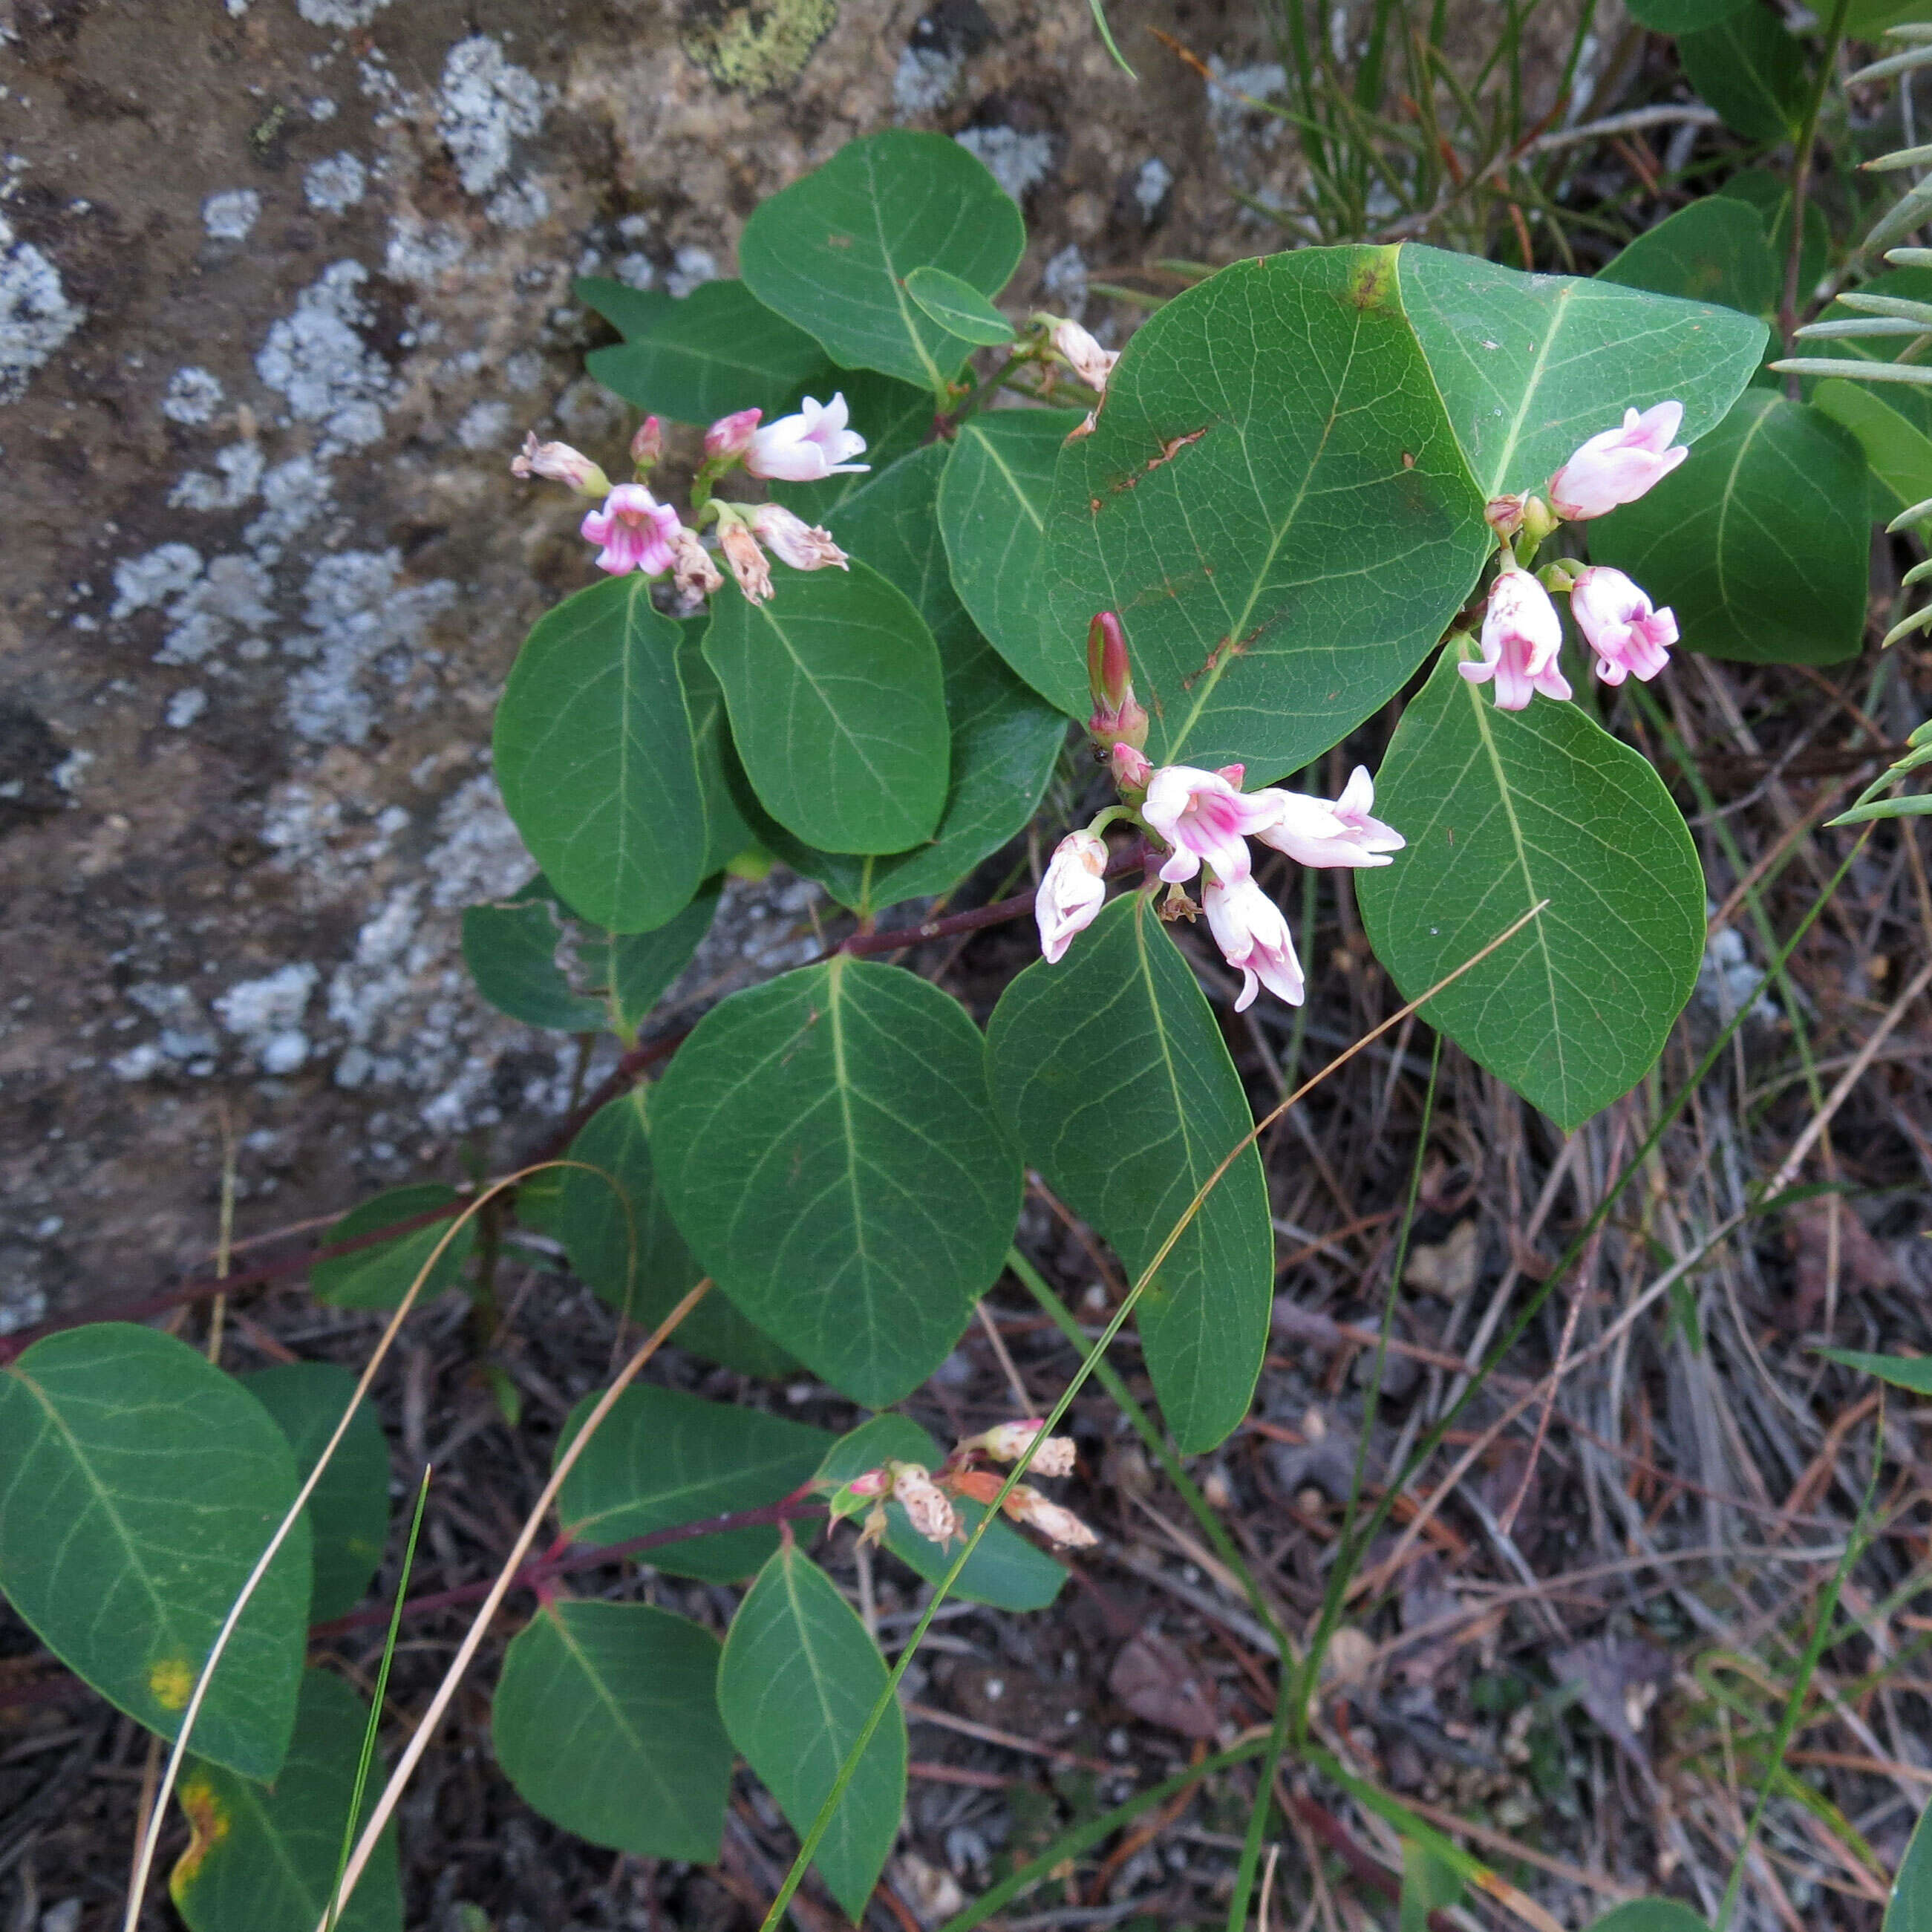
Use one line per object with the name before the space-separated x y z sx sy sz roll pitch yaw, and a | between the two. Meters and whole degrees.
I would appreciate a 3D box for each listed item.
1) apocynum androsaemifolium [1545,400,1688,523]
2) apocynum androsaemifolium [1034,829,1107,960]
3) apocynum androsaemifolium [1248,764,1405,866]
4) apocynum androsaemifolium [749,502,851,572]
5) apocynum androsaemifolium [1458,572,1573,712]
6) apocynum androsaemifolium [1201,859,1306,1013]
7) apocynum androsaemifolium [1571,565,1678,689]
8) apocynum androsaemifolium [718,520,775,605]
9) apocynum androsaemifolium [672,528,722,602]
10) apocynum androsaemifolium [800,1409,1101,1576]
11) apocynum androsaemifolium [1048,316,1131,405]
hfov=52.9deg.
apocynum androsaemifolium | 0.573 -0.464 1.712 0.118 0.088 0.132 0 63 16
apocynum androsaemifolium | 0.093 -0.068 1.711 0.053 0.053 0.121 11 92 3
apocynum androsaemifolium | 0.309 -0.116 1.691 0.124 0.063 0.074 20 33 34
apocynum androsaemifolium | -0.161 -0.413 1.880 0.100 0.041 0.033 35 48 13
apocynum androsaemifolium | 0.498 -0.275 1.710 0.079 0.058 0.134 -2 87 14
apocynum androsaemifolium | 0.255 -0.034 1.734 0.070 0.047 0.136 -30 94 1
apocynum androsaemifolium | 0.597 -0.302 1.795 0.073 0.066 0.121 -43 71 6
apocynum androsaemifolium | -0.207 -0.385 1.841 0.030 0.076 0.042 -29 28 -26
apocynum androsaemifolium | -0.252 -0.373 1.850 0.039 0.031 0.076 -12 90 2
apocynum androsaemifolium | -0.003 0.505 1.843 0.188 0.191 0.073 -9 99 -21
apocynum androsaemifolium | 0.112 -0.612 1.938 0.036 0.057 0.082 -40 59 -7
